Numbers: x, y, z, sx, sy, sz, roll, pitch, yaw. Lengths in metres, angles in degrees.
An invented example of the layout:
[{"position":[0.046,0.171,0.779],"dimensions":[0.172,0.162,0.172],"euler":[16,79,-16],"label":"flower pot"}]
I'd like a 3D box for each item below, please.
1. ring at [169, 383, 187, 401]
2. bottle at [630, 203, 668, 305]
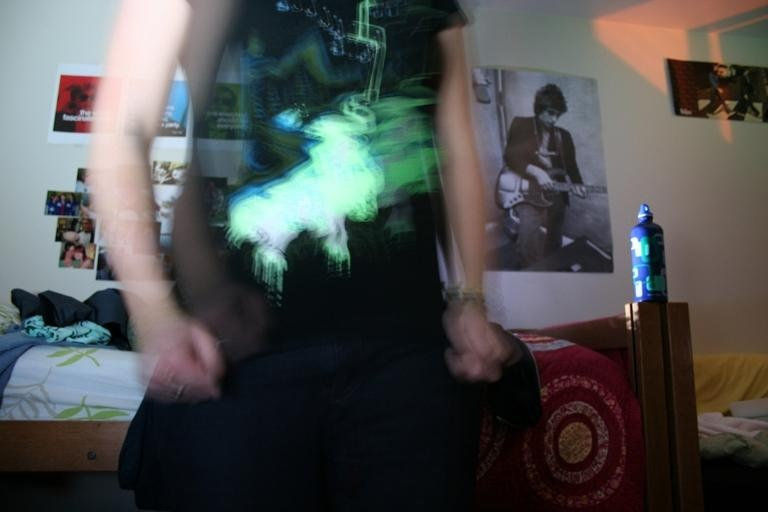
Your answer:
[{"position":[-0.433,0.287,1.193],"dimensions":[0.024,0.032,0.005],"euler":[-2,5,2],"label":"ring"},{"position":[0.800,-0.004,1.721],"dimensions":[0.098,0.295,0.310],"euler":[1,7,25],"label":"bottle"}]
